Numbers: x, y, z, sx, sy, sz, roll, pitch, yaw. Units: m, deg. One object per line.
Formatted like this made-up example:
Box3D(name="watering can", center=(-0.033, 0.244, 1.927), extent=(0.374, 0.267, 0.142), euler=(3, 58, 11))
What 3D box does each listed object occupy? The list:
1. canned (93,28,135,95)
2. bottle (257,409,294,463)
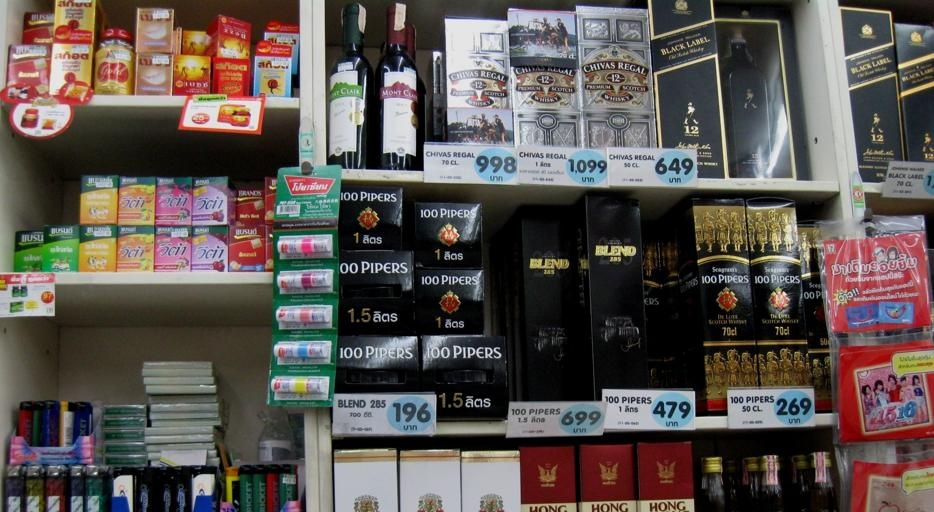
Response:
Box3D(name="canned", center=(-1.365, -0.741, 3.781), extent=(0.151, 0.248, 0.146), euler=(3, -3, -25))
Box3D(name="bottle", center=(-0.787, 0.759, 3.981), extent=(0.157, 0.246, 0.152), euler=(-7, -23, -3))
